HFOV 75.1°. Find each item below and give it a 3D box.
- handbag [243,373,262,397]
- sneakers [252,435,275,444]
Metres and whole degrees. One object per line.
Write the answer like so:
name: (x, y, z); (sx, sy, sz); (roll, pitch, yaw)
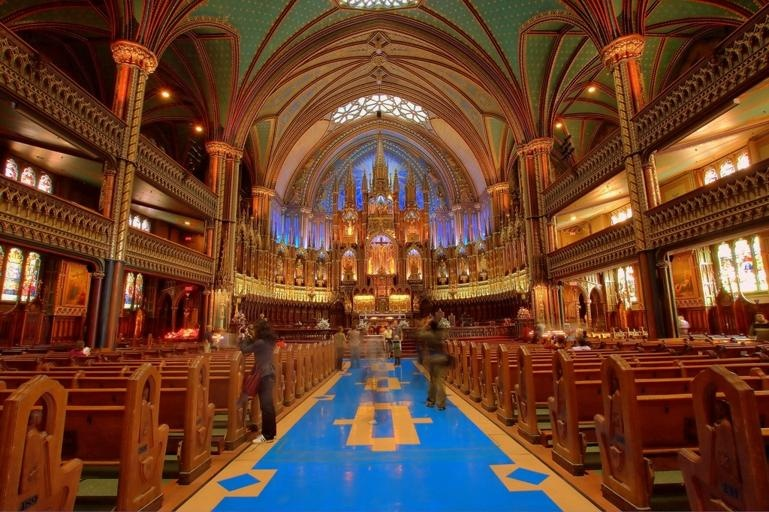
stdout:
handbag: (-2.962, 2.911, 11.327); (0.426, 0.621, 0.272); (9, -38, -9)
sneakers: (-2.794, 4.247, 11.599); (0.517, 0.235, 0.191); (8, -20, -4)
